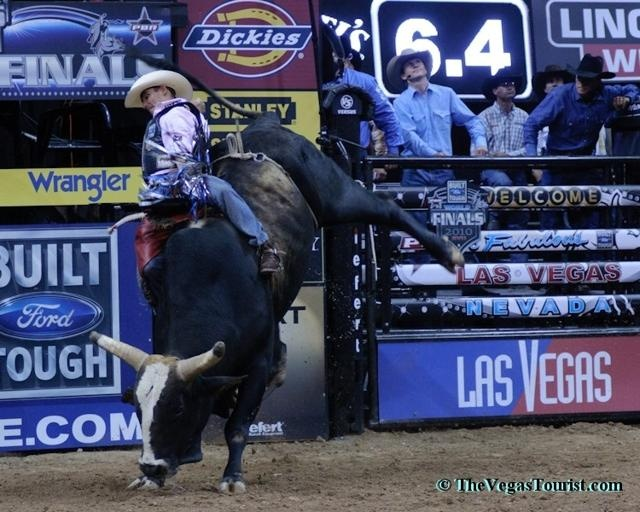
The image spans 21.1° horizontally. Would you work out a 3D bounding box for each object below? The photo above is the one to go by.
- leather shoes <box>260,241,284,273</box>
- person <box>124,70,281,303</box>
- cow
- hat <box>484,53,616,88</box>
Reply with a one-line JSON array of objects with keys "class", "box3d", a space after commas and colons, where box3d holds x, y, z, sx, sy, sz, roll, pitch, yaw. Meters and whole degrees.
[{"class": "leather shoes", "box3d": [-0.425, 0.030, 15.202, 0.207, 0.253, 0.105, -13, -25, 35]}, {"class": "person", "box3d": [-1.067, -0.559, 15.436, 1.599, 2.536, 0.985, -8, -32, -10]}, {"class": "cow", "box3d": [-0.751, 0.205, 15.304, 1.500, 3.694, 2.418, 0, 2, 26]}, {"class": "hat", "box3d": [2.606, -2.023, 19.142, 1.102, 0.153, 0.547, -4, -17, 5]}]
